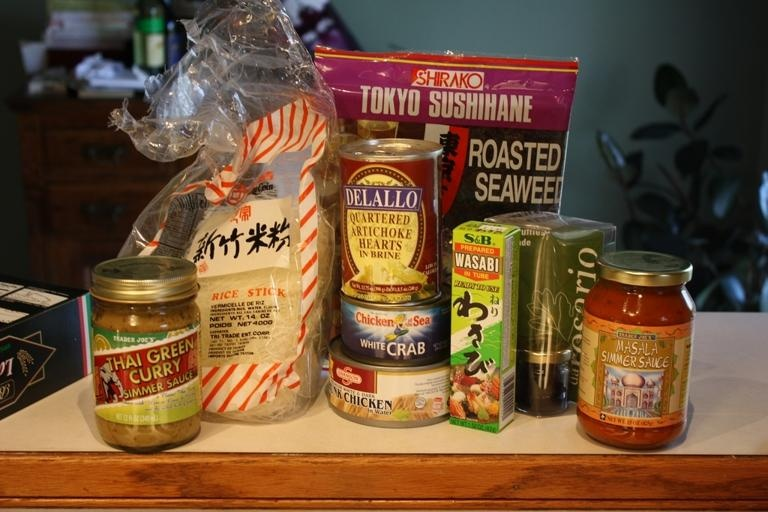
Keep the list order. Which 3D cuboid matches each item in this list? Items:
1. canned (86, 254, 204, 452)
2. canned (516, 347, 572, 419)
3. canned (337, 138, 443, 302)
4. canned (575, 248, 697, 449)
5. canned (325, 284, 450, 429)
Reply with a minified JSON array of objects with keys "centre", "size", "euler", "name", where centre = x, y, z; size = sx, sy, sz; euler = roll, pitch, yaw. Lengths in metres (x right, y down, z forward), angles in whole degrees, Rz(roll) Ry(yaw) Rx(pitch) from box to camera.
[{"centre":[-0.330,0.136,0.959],"size":[0.150,0.251,0.131],"euler":[-2,17,1],"name":"canned"},{"centre":[0.235,0.188,1.066],"size":[0.103,0.100,0.097],"euler":[-3,10,-12],"name":"canned"},{"centre":[0.008,-0.042,0.971],"size":[0.145,0.210,0.078],"euler":[-1,17,3],"name":"canned"},{"centre":[0.359,0.131,0.968],"size":[0.149,0.259,0.155],"euler":[5,18,22],"name":"canned"},{"centre":[-0.005,0.150,1.057],"size":[0.194,0.136,0.189],"euler":[-1,12,-13],"name":"canned"}]
